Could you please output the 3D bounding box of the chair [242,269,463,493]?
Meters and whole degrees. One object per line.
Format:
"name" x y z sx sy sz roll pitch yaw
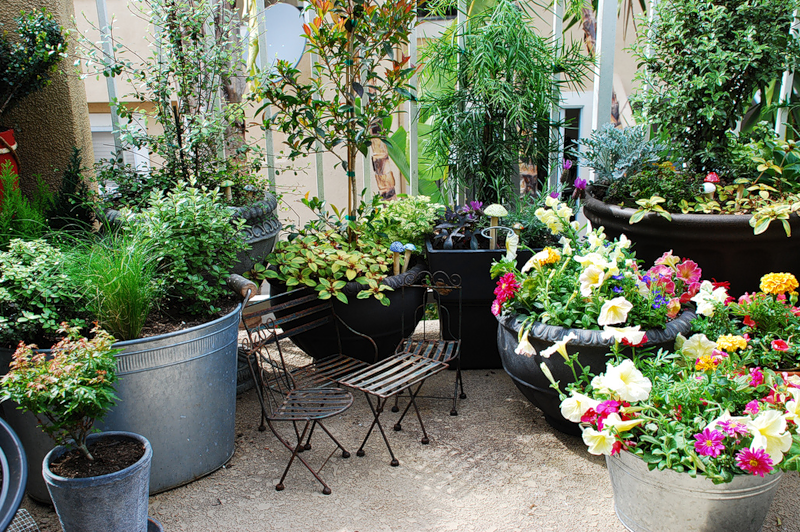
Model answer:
"chair" -0.285 0.580 3.457 1.331 0.885 1.271 -1 14 6

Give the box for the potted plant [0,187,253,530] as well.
"potted plant" -1.349 0.557 3.016 0.894 0.747 0.998 9 10 36
